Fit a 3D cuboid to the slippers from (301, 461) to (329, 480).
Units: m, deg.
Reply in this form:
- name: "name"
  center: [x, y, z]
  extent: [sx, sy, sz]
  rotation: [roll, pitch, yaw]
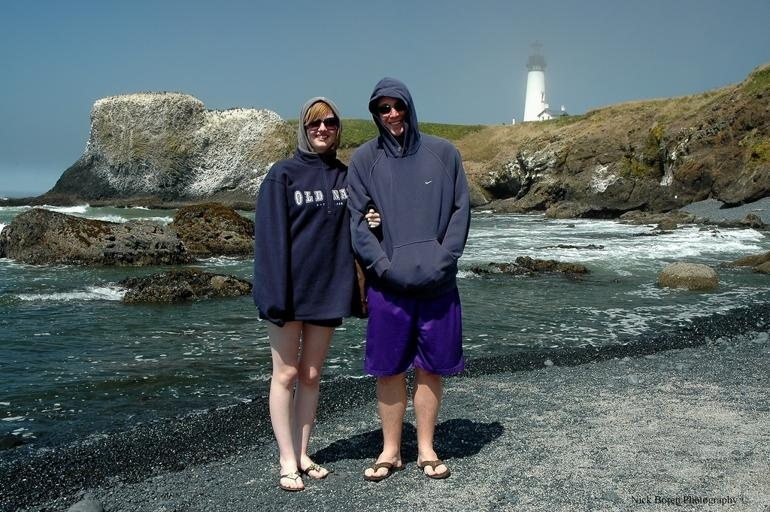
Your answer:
- name: "slippers"
  center: [-0.689, 2.214, 6.623]
  extent: [0.256, 0.088, 0.141]
  rotation: [-6, -5, 43]

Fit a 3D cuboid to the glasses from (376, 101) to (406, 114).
- name: "glasses"
  center: [0.062, -1.468, 6.589]
  extent: [0.183, 0.054, 0.173]
  rotation: [-5, -17, 5]

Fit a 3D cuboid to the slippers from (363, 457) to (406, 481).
- name: "slippers"
  center: [-0.008, 2.204, 6.626]
  extent: [0.324, 0.083, 0.175]
  rotation: [6, -8, -41]

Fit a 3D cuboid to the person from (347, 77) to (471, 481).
- name: "person"
  center: [0.256, 0.257, 6.544]
  extent: [1.180, 3.924, 1.143]
  rotation: [-1, 16, 6]

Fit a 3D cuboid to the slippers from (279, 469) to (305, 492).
- name: "slippers"
  center: [-0.915, 2.260, 6.507]
  extent: [0.231, 0.169, 0.186]
  rotation: [-5, 15, -11]
